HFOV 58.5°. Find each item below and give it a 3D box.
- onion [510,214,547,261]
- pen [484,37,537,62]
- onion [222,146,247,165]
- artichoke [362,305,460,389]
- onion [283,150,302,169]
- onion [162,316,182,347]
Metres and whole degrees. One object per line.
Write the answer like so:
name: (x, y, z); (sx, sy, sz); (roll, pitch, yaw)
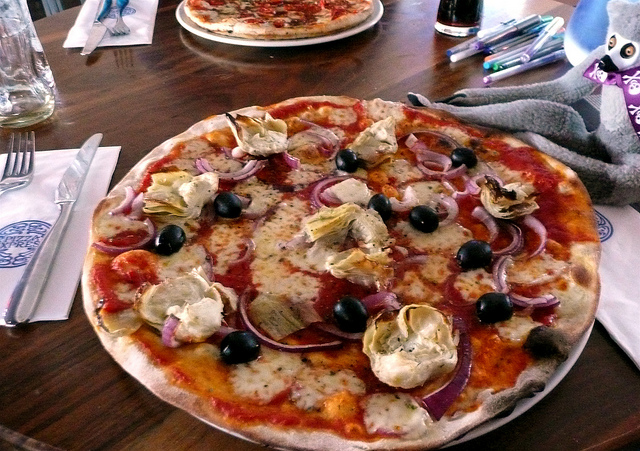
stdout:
onion: (0.815, 0.035, 2.221); (0.206, 0.051, 0.163); (-12, 50, 28)
pen: (1.076, -1.002, 3.244); (0.367, 0.036, 0.035); (-27, 74, -14)
onion: (-0.368, -0.301, 2.480); (0.104, 0.067, 0.022); (40, 62, 11)
artichoke: (0.290, 0.382, 1.854); (0.320, 0.110, 0.265); (-3, 45, 16)
onion: (-0.120, -0.281, 2.470); (0.100, 0.023, 0.075); (-6, 54, -24)
onion: (-0.486, 0.347, 1.857); (0.080, 0.038, 0.077); (-11, 71, 31)
